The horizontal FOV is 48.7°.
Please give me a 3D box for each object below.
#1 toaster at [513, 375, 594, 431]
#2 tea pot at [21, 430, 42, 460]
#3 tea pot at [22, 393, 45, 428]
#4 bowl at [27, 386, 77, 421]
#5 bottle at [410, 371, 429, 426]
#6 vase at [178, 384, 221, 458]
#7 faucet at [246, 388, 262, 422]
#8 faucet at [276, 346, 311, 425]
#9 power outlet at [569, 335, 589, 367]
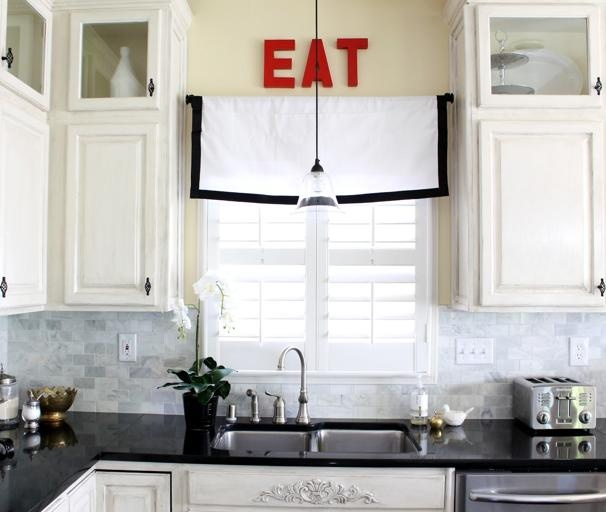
[{"bbox_3d":[1.108,0.624,2.970,0.219,0.175,0.254,0,-5,-1],"label":"toaster"},{"bbox_3d":[-1.120,0.775,2.773,0.053,0.100,0.057,0,-5,0],"label":"tea pot"},{"bbox_3d":[-1.194,0.679,2.971,0.080,0.160,0.135,1,-4,-22],"label":"tea pot"},{"bbox_3d":[-1.105,0.673,3.042,0.174,0.127,0.189,-1,-3,0],"label":"bowl"},{"bbox_3d":[0.539,0.659,3.100,0.086,0.217,0.163,-1,-3,9],"label":"bottle"},{"bbox_3d":[-0.454,0.728,2.877,0.167,0.276,0.165,0,-6,12],"label":"vase"},{"bbox_3d":[-0.221,0.681,3.081,0.060,0.156,0.216,0,-3,-3],"label":"faucet"},{"bbox_3d":[-0.037,0.584,3.015,0.135,0.353,0.341,0,-3,1],"label":"faucet"},{"bbox_3d":[1.298,0.450,3.156,0.115,0.192,0.020,1,-1,0],"label":"power outlet"}]
